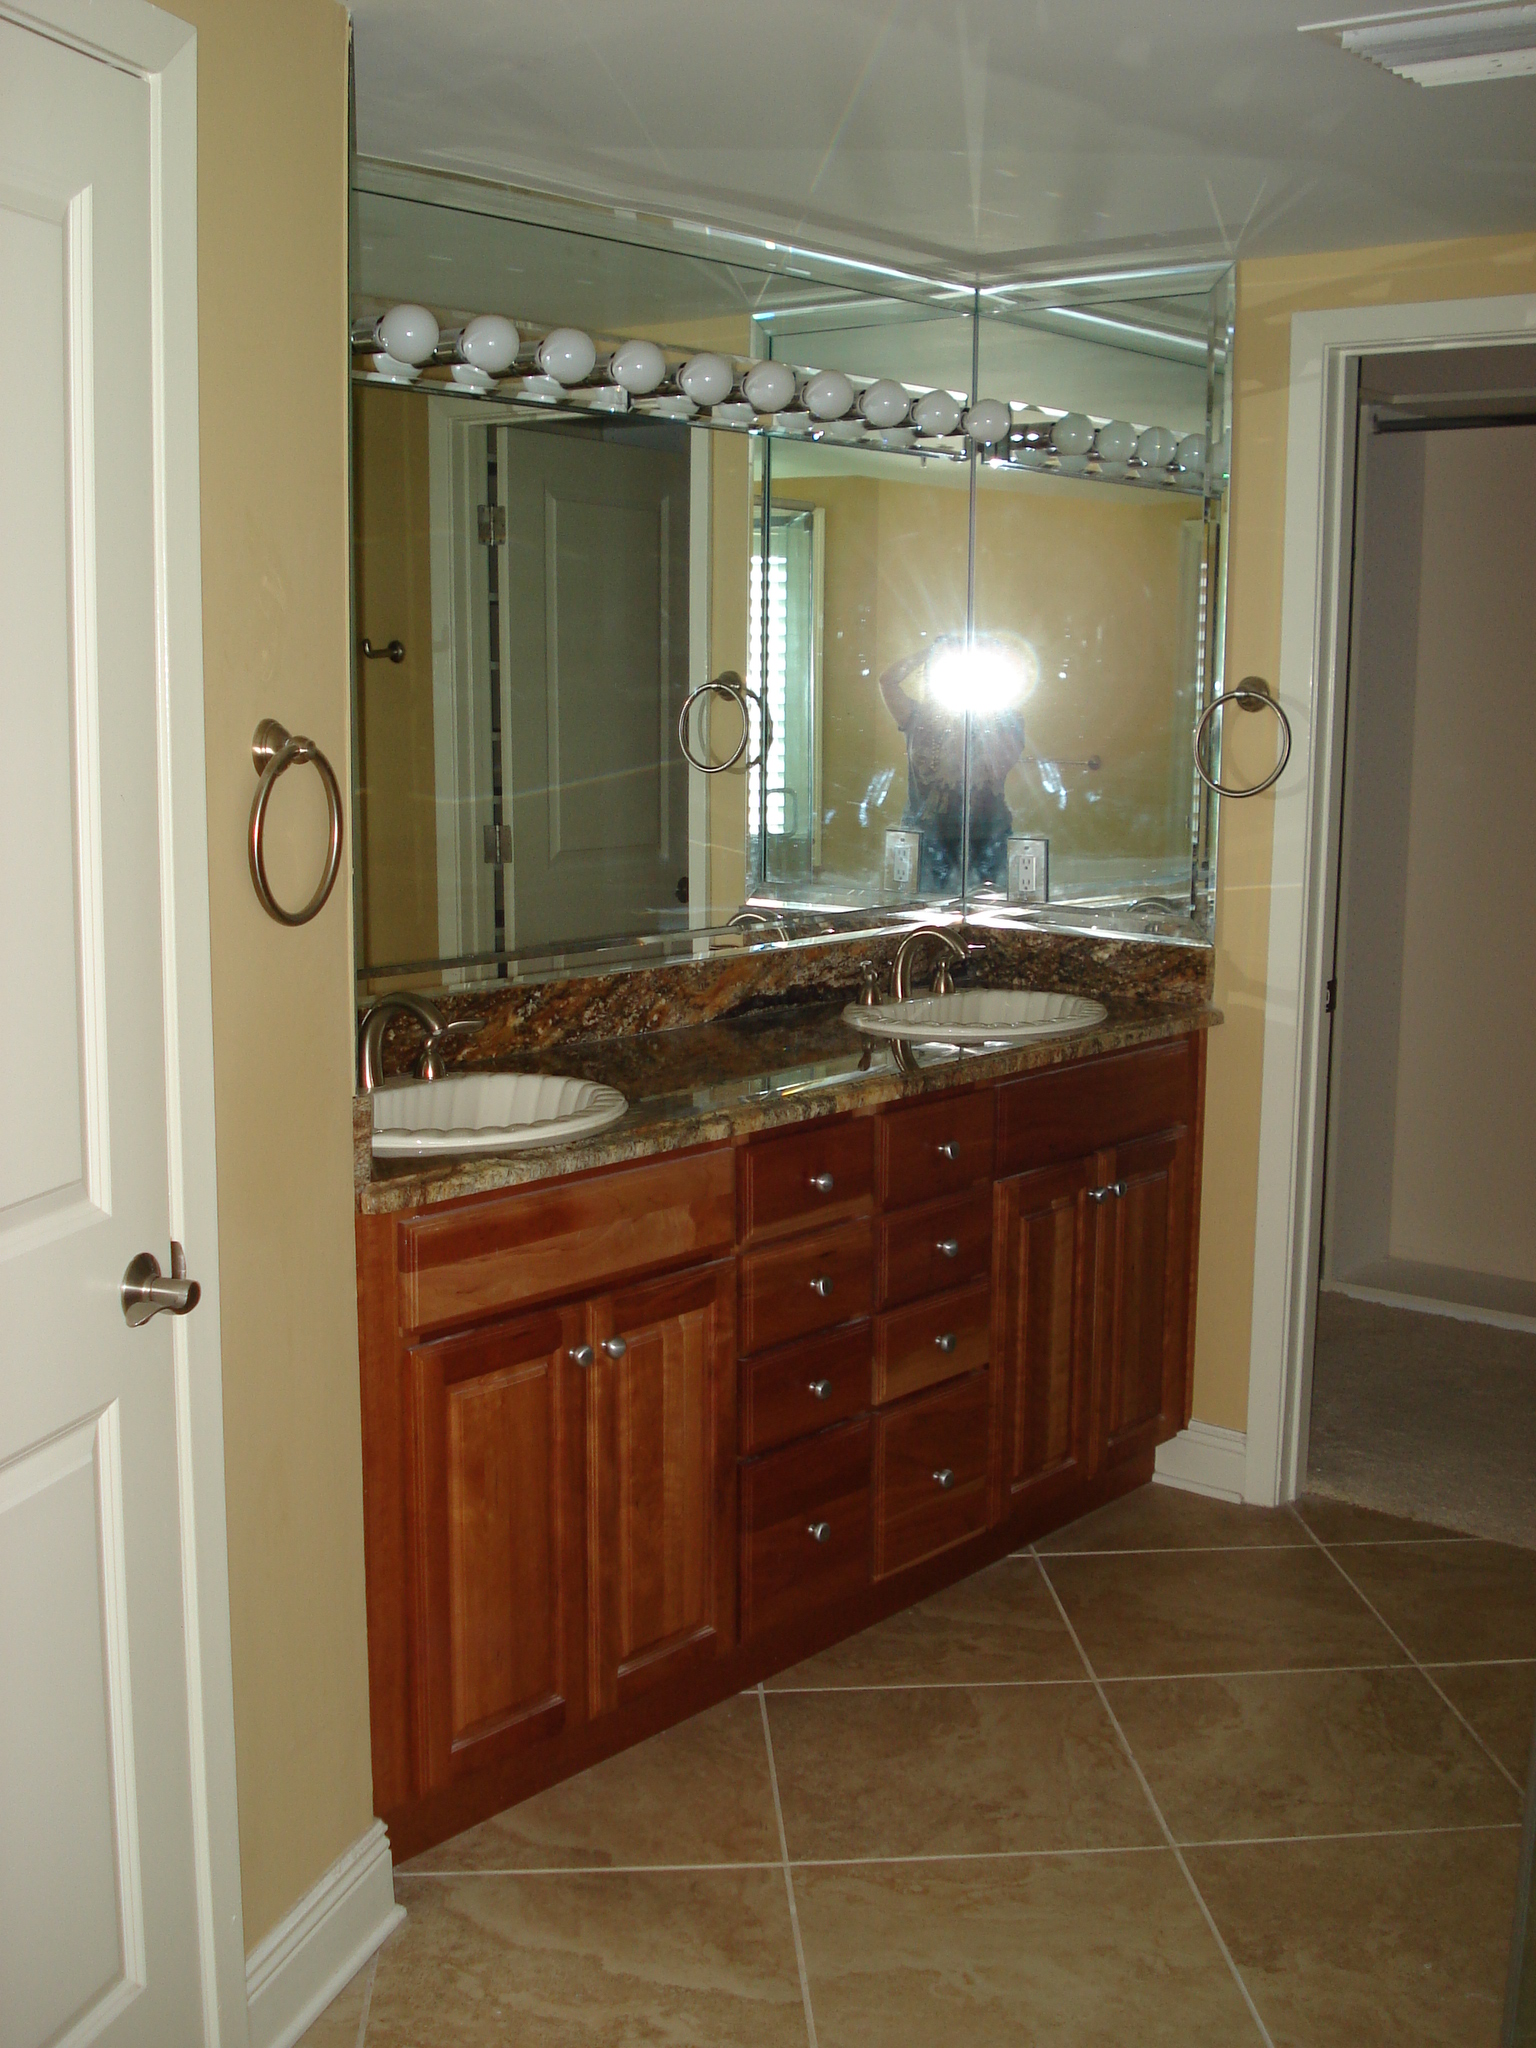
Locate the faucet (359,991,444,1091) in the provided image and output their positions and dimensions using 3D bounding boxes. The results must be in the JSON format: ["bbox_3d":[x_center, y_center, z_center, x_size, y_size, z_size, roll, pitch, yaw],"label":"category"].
[{"bbox_3d":[-0.485,0.023,2.277,0.104,0.141,0.497,-1,7,-13],"label":"faucet"}]

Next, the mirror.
[{"bbox_3d":[0.129,-0.691,3.077,1.725,1.072,0.017,-3,10,-24],"label":"mirror"}]
